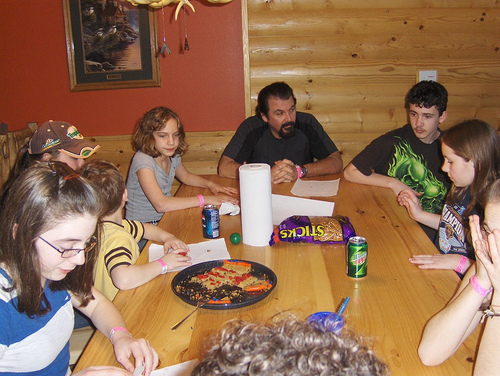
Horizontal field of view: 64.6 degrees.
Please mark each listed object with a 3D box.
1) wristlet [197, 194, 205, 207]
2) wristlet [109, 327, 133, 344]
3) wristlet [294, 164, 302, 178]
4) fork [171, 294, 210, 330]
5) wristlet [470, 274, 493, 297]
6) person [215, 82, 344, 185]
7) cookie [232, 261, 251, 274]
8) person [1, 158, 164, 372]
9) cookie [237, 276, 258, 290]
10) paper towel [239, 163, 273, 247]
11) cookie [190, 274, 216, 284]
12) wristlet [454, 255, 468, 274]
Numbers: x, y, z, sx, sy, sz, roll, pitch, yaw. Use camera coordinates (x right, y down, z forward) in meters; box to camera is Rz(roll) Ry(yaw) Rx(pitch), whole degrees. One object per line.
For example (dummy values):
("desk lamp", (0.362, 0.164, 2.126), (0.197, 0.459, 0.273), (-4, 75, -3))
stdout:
("wristlet", (-0.305, 0.084, 2.458), (0.035, 0.063, 0.072), (1, 14, -29))
("wristlet", (-0.447, 0.493, 1.341), (0.051, 0.015, 0.054), (-11, 12, -30))
("wristlet", (0.367, -0.124, 3.010), (0.048, 0.079, 0.113), (6, 12, -6))
("fork", (-0.214, 0.451, 1.426), (0.120, 0.014, 0.020), (-38, 52, -23))
("wristlet", (0.780, 0.331, 1.340), (0.063, 0.060, 0.061), (15, 14, 31))
("person", (0.232, -0.383, 3.395), (1.068, 0.944, 0.648), (-4, 30, -5))
("cookie", (-0.033, 0.336, 1.671), (0.073, 0.031, 0.071), (12, 13, 15))
("person", (-0.591, 0.359, 1.307), (0.382, 0.816, 0.490), (-2, 15, -39))
("cookie", (-0.011, 0.374, 1.581), (0.024, 0.011, 0.069), (17, 21, 30))
("paper towel", (0.033, 0.083, 1.922), (0.145, 0.387, 0.156), (3, 14, -3))
("cookie", (-0.199, 0.370, 1.632), (0.094, 0.021, 0.061), (1, 15, -32))
("wristlet", (0.950, 0.347, 1.809), (0.047, 0.067, 0.067), (15, 62, 13))
